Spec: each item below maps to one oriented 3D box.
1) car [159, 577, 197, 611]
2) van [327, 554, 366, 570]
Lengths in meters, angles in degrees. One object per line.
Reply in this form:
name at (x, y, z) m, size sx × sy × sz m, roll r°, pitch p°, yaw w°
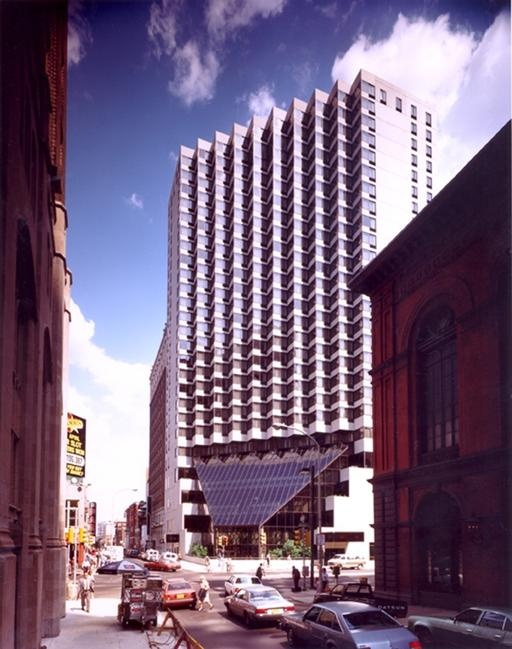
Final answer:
car at (-3.111, 10.994, 31.976) m, size 1.398 × 1.077 × 1.109 m, roll 2°, pitch -19°, yaw -5°
van at (8.314, 21.499, 70.723) m, size 3.665 × 1.624 × 3.269 m, roll 4°, pitch -22°, yaw -11°
